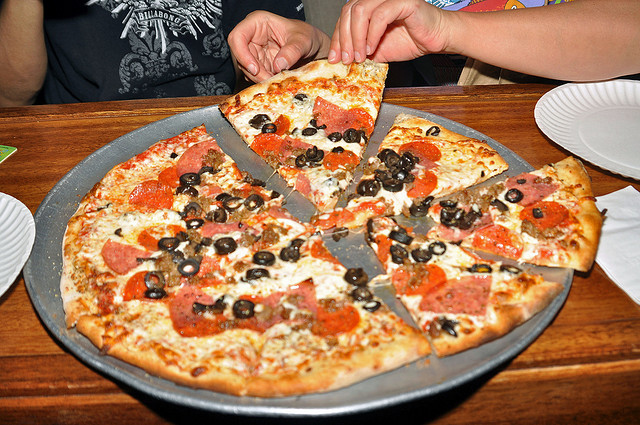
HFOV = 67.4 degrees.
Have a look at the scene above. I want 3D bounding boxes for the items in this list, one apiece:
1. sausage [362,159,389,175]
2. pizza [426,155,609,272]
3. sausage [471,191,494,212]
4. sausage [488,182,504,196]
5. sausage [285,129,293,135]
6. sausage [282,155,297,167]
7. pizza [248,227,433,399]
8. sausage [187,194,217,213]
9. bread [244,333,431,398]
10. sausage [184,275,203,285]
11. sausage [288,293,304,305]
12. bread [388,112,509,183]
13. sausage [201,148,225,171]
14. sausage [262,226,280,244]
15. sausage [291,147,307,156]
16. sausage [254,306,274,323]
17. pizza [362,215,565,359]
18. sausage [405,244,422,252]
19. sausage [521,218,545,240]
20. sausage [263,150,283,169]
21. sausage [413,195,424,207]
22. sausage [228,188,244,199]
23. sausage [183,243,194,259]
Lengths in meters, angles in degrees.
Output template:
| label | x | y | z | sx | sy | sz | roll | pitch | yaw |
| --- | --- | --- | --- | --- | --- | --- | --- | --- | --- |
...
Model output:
| label | x | y | z | sx | sy | sz | roll | pitch | yaw |
| --- | --- | --- | --- | --- | --- | --- | --- | --- | --- |
| sausage | 0.378 | -0.327 | 3.464 | 0.125 | 0.034 | 0.120 | 16 | 52 | 18 |
| pizza | 1.285 | 0.008 | 3.139 | 1.084 | 0.121 | 0.869 | -10 | 46 | 7 |
| sausage | 1.089 | -0.076 | 3.261 | 0.128 | 0.030 | 0.119 | -5 | 63 | -2 |
| sausage | 1.189 | -0.158 | 3.239 | 0.085 | 0.024 | 0.081 | 5 | 61 | 11 |
| sausage | -0.240 | -0.620 | 3.722 | 0.039 | 0.013 | 0.039 | -2 | 48 | -6 |
| sausage | -0.216 | -0.376 | 3.520 | 0.094 | 0.016 | 0.087 | 6 | 62 | 2 |
| pizza | 0.027 | 0.534 | 2.665 | 0.634 | 0.105 | 0.750 | -9 | 38 | -8 |
| sausage | -0.769 | -0.074 | 3.223 | 0.130 | 0.037 | 0.131 | 38 | 53 | 14 |
| bread | 0.118 | 0.810 | 2.495 | 0.839 | 0.068 | 0.233 | -13 | 40 | -9 |
| sausage | -0.752 | 0.396 | 2.856 | 0.050 | 0.017 | 0.063 | 0 | 23 | 4 |
| sausage | -0.137 | 0.493 | 2.776 | 0.063 | 0.015 | 0.059 | -12 | 41 | -17 |
| bread | 0.987 | -0.520 | 3.454 | 0.503 | 0.104 | 0.941 | -26 | 52 | -36 |
| sausage | -0.759 | -0.385 | 3.437 | 0.152 | 0.044 | 0.145 | 21 | 66 | -4 |
| sausage | -0.315 | 0.140 | 3.055 | 0.080 | 0.025 | 0.096 | 1 | 58 | -11 |
| sausage | -0.156 | -0.455 | 3.574 | 0.110 | 0.018 | 0.081 | -8 | 63 | -5 |
| sausage | -0.316 | 0.559 | 2.696 | 0.079 | 0.022 | 0.075 | -18 | 63 | -15 |
| pizza | 0.742 | 0.377 | 2.942 | 0.861 | 0.162 | 1.129 | -38 | 49 | -26 |
| sausage | 0.581 | 0.213 | 3.021 | 0.054 | 0.014 | 0.053 | -33 | 32 | -32 |
| sausage | 1.341 | 0.106 | 3.027 | 0.113 | 0.035 | 0.109 | -9 | 59 | -14 |
| sausage | -0.334 | -0.388 | 3.508 | 0.134 | 0.033 | 0.185 | -10 | 63 | -6 |
| sausage | 0.665 | -0.077 | 3.247 | 0.064 | 0.017 | 0.062 | 4 | 48 | 6 |
| sausage | -0.564 | -0.140 | 3.275 | 0.070 | 0.015 | 0.064 | 0 | 41 | 11 |
| sausage | -0.805 | 0.233 | 2.924 | 0.070 | 0.019 | 0.065 | 0 | 57 | 3 |
